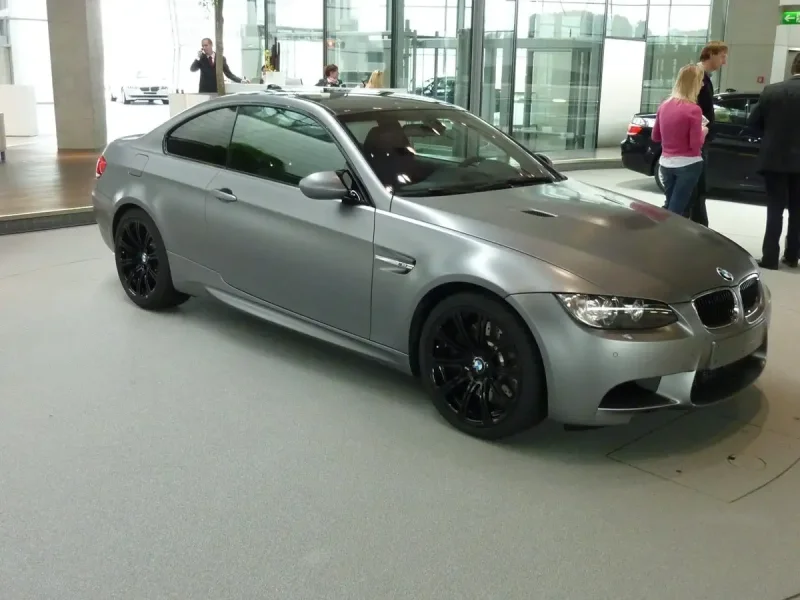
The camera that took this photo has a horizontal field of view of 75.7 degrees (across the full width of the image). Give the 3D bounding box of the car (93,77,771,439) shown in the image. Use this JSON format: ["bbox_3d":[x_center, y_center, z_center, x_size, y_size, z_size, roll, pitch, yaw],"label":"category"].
[{"bbox_3d":[-0.341,-0.468,3.861,4.772,1.501,2.080,15,23,34],"label":"car"}]
